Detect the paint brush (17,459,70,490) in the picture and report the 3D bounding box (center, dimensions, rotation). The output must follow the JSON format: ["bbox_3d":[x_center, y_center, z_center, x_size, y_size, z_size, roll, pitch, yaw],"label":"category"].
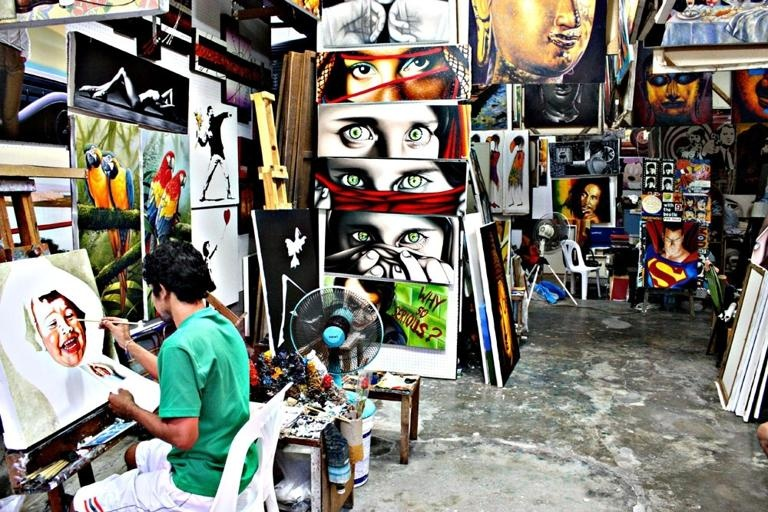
[{"bbox_3d":[-2.024,1.314,3.055,0.076,0.060,0.219,34,13,10],"label":"paint brush"}]

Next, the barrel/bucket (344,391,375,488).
[{"bbox_3d":[-0.268,1.631,4.313,0.398,0.611,0.413,2,-11,0],"label":"barrel/bucket"}]
